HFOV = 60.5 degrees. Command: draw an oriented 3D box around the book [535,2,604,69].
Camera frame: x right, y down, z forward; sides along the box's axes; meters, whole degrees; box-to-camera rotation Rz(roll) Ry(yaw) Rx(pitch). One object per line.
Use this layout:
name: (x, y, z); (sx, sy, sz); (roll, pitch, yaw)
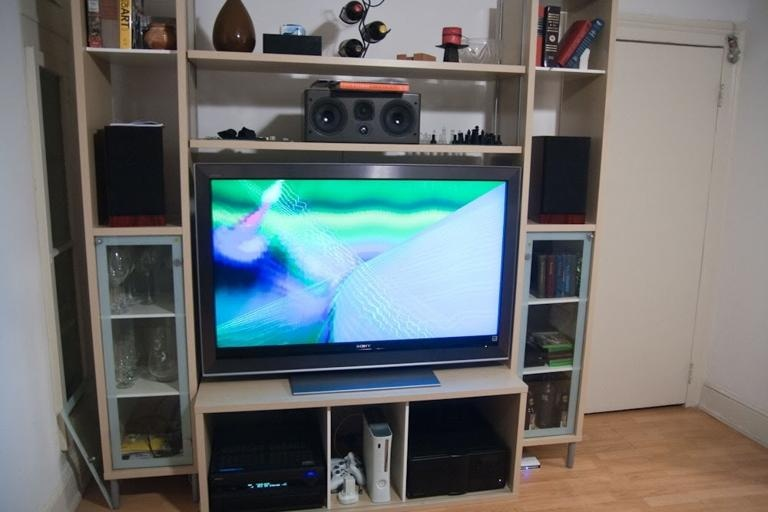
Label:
book: (1.080, -1.228, 3.852); (0.101, 0.394, 0.383); (7, 21, -44)

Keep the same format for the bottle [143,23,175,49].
bottle: (-1.212, -1.162, 3.528); (0.179, 0.130, 0.061); (-1, 11, 2)

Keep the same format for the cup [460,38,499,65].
cup: (0.564, -1.175, 3.888); (0.166, 0.128, 0.179); (0, 11, 0)

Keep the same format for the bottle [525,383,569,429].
bottle: (0.986, 0.910, 4.022); (0.308, 0.294, 0.168); (0, 0, -3)

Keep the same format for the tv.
tv: (-0.215, 0.111, 3.677); (1.281, 0.936, 0.309); (0, 6, -7)
